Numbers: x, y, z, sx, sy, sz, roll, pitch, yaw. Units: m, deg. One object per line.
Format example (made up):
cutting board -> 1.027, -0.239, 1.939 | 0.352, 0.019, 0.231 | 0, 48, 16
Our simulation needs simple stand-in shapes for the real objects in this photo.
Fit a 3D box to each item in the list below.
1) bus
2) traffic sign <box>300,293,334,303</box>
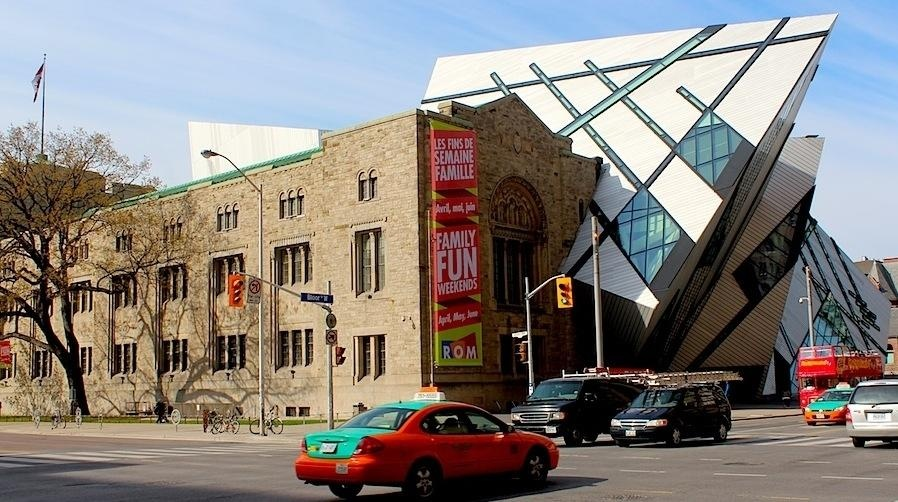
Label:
bus -> 32.142, 10.780, 91.112 | 4.251, 5.265, 11.853 | -15, -20, 41
traffic sign -> -9.643, 3.482, 75.578 | 1.617, 0.346, 1.462 | 11, -17, -33
